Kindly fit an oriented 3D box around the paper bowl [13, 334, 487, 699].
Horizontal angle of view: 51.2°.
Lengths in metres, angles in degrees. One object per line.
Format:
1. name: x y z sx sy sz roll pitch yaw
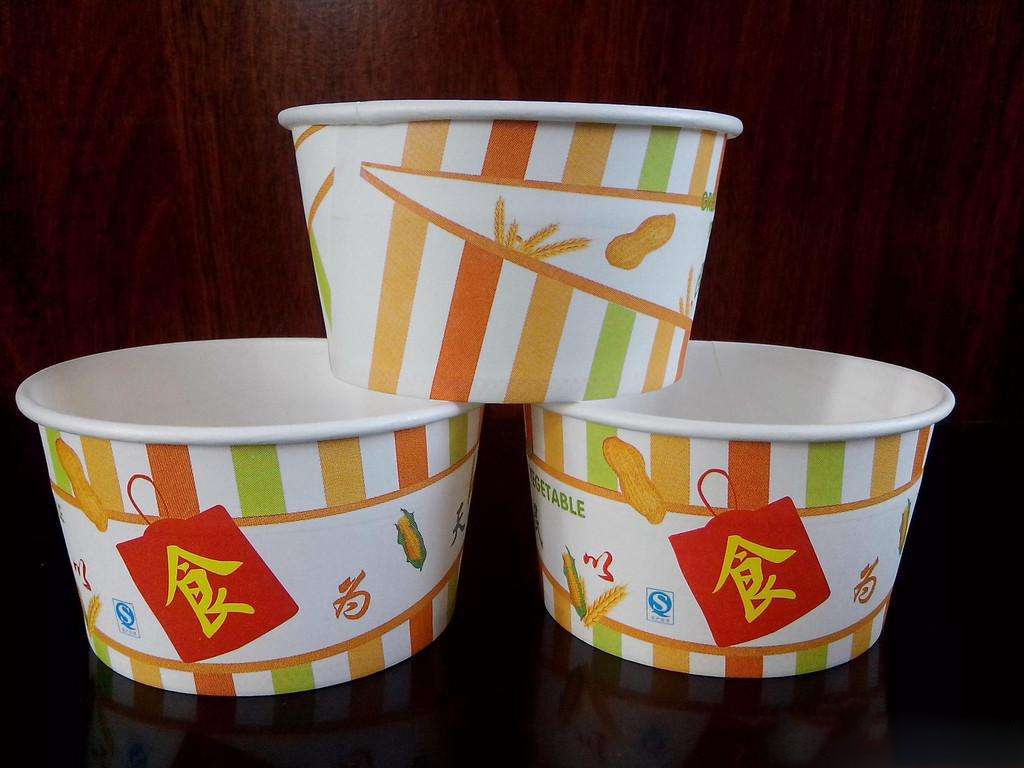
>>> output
1. paper bowl: -0.386 0.151 1.571 0.574 0.371 0.517 20 29 35
